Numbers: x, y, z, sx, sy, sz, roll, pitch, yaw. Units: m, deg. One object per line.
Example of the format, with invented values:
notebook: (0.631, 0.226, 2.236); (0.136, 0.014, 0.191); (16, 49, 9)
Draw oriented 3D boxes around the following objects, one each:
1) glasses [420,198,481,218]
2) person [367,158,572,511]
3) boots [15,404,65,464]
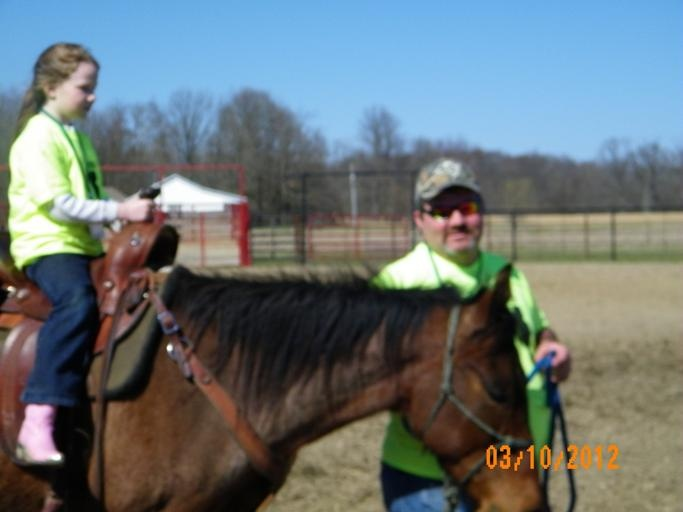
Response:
glasses: (0.519, -0.214, 5.257); (0.262, 0.076, 0.038); (-4, 7, 6)
person: (0.597, 0.401, 5.238); (0.913, 1.684, 0.727); (-4, 7, 2)
boots: (-1.474, 0.871, 5.489); (0.126, 0.289, 0.359); (10, 0, -45)
